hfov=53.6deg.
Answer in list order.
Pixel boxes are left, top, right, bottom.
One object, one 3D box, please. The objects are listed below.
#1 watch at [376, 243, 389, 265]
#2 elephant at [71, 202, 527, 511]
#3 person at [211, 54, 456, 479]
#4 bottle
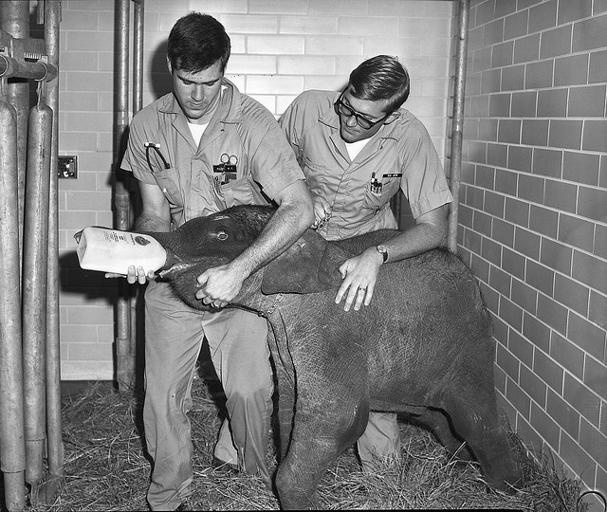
[{"bbox_3d":[0.296,0.002,2.310,0.040,0.065,0.070,-13,53,-20],"label":"watch"},{"bbox_3d":[0.100,0.434,2.774,1.883,1.523,0.828,4,-8,-11],"label":"elephant"},{"bbox_3d":[0.167,0.129,3.178,0.903,2.376,0.811,15,34,22],"label":"person"},{"bbox_3d":[-0.613,-0.008,2.032,0.299,0.171,0.198,-3,13,-19],"label":"bottle"}]
